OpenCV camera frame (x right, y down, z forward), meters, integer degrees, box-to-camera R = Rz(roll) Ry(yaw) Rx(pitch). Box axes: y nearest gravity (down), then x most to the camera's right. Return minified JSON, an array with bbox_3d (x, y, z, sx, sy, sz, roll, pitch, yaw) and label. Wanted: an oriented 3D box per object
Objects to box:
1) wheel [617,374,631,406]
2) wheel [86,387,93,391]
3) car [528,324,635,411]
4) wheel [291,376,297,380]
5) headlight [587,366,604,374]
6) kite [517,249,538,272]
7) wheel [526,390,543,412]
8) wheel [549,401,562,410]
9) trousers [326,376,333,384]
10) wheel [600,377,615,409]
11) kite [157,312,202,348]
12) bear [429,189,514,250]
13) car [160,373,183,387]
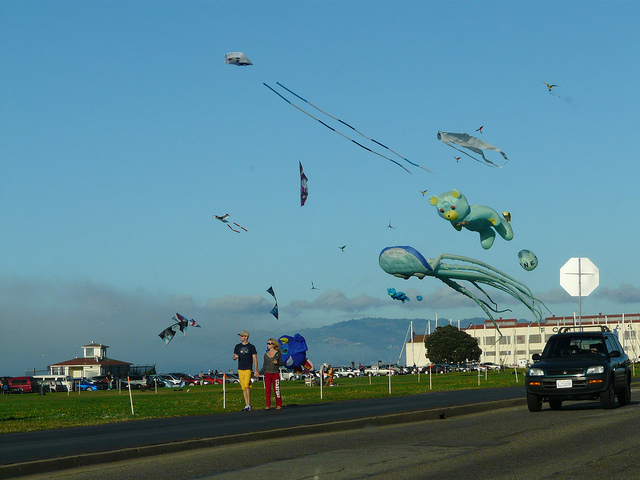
[{"bbox_3d":[10.583,5.205,39.171,0.269,1.098,0.955,-14,-16,40],"label":"wheel"},{"bbox_3d":[-21.075,13.590,103.467,0.498,0.575,0.177,-2,2,11],"label":"wheel"},{"bbox_3d":[8.895,4.239,38.041,3.732,2.907,2.067,4,-15,-29],"label":"car"},{"bbox_3d":[-2.738,15.072,123.215,0.619,0.354,1.487,-4,-13,-1],"label":"wheel"},{"bbox_3d":[9.069,4.246,37.057,0.338,0.297,0.138,0,-31,10],"label":"headlight"},{"bbox_3d":[9.467,0.895,51.358,0.723,1.293,2.394,-6,-13,12],"label":"kite"},{"bbox_3d":[7.243,5.430,37.865,0.493,0.666,0.508,-3,-13,-1],"label":"wheel"},{"bbox_3d":[8.129,5.694,38.787,0.371,0.295,0.641,-6,-13,9],"label":"wheel"},{"bbox_3d":[0.751,9.582,77.322,0.416,0.575,0.217,-4,-6,16],"label":"trousers"},{"bbox_3d":[9.523,5.034,37.331,0.294,1.143,1.062,1,2,22],"label":"wheel"},{"bbox_3d":[-7.324,4.239,58.990,2.099,0.727,2.175,28,14,-4],"label":"kite"},{"bbox_3d":[7.090,-1.045,51.929,3.626,2.974,1.908,-12,1,-35],"label":"bear"},{"bbox_3d":[-14.140,13.481,108.586,1.759,1.670,5.683,-1,-14,-12],"label":"car"}]
